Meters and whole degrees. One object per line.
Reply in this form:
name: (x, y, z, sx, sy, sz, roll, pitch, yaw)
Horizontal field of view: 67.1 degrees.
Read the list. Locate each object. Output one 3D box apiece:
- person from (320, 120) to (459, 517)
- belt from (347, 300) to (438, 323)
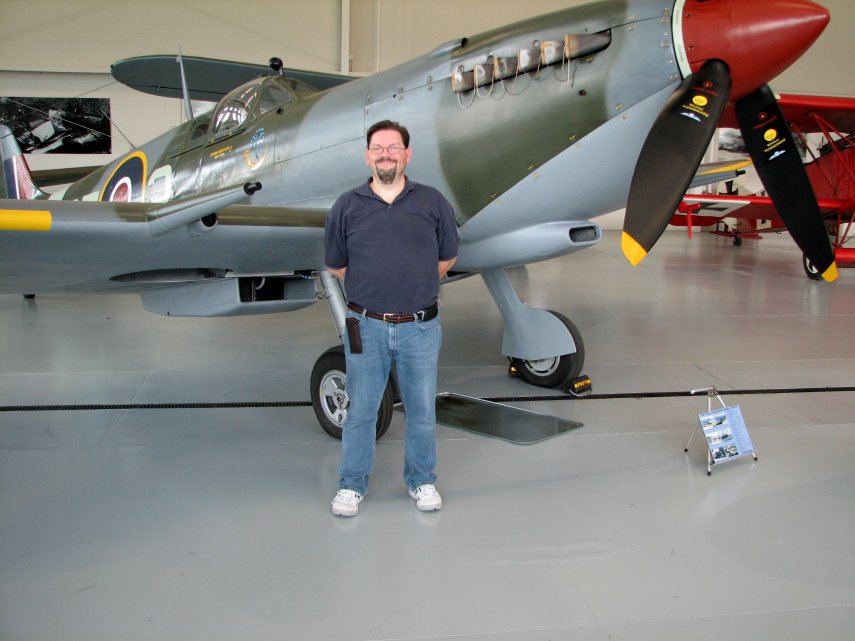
person: (-0.145, -0.004, 2.721, 0.570, 1.615, 0.343, -2, 14, -5)
belt: (-0.142, -0.043, 2.741, 0.389, 0.081, 0.104, -2, 14, -8)
